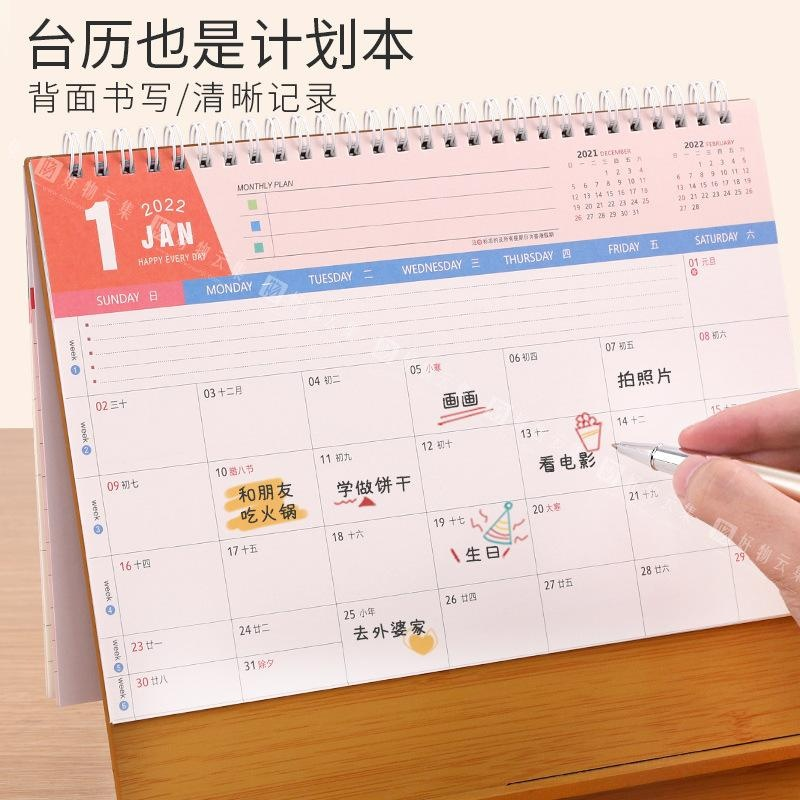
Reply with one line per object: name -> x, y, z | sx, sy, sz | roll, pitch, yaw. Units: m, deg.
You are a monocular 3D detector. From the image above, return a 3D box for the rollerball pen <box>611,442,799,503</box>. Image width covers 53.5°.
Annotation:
rollerball pen -> 0.298, 0.074, 0.805 | 0.030, 0.027, 0.209 | -12, 17, -30
